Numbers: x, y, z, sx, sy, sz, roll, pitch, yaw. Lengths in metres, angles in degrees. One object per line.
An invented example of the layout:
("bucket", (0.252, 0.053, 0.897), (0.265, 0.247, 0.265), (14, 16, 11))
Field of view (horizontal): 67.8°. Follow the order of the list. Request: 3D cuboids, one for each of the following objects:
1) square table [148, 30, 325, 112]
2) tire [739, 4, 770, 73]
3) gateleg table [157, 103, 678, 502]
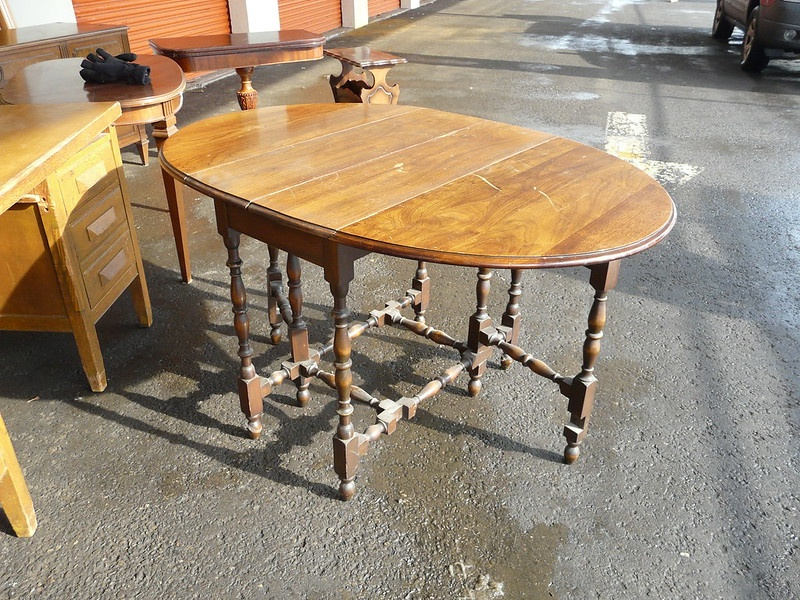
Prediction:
("square table", (-1.208, -1.631, 4.654), (1.298, 0.729, 0.640), (-17, 39, -27))
("tire", (5.328, -3.885, 8.920), (0.435, 0.933, 0.940), (14, 33, 22))
("gateleg table", (0.046, -0.175, 3.349), (2.210, 1.411, 2.432), (7, 29, -1))
